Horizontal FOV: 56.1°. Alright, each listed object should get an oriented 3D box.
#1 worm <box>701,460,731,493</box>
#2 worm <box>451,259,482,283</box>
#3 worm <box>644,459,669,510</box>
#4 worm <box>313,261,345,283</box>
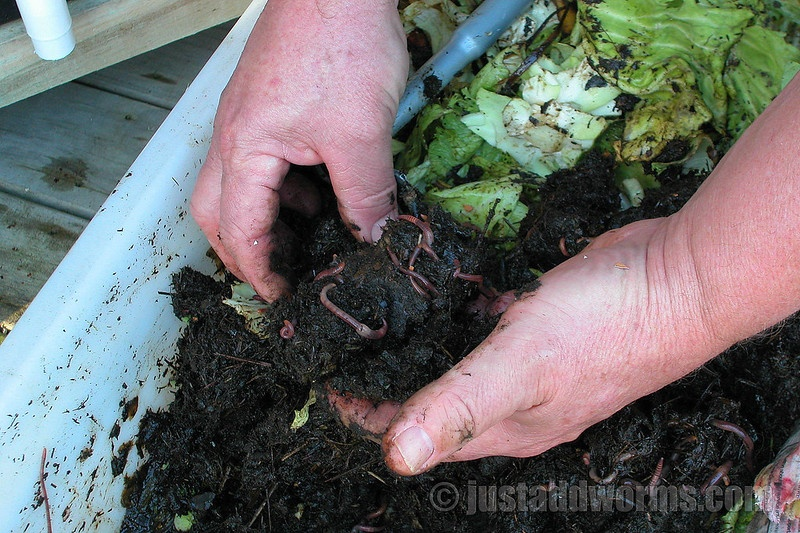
[{"bbox_3d":[1.358,0.895,3.250,0.086,0.045,0.155,42,87,-11],"label":"worm"},{"bbox_3d":[0.288,0.029,3.190,0.140,0.069,0.072,9,58,-11],"label":"worm"},{"bbox_3d":[1.091,0.941,3.204,0.056,0.246,0.053,-3,17,-38],"label":"worm"},{"bbox_3d":[-0.303,0.029,3.243,0.122,0.095,0.070,6,58,-12],"label":"worm"}]
